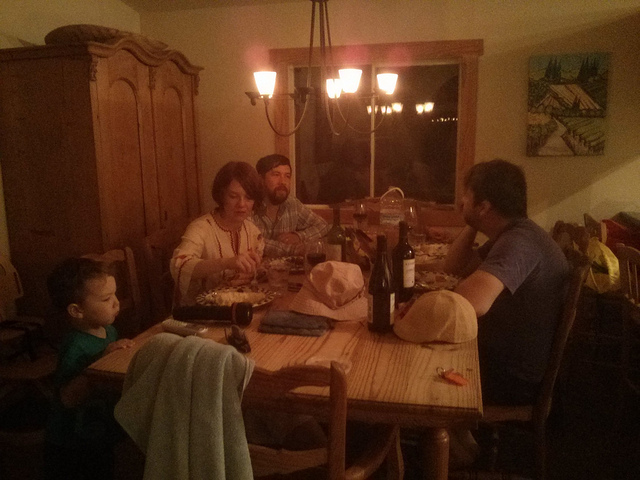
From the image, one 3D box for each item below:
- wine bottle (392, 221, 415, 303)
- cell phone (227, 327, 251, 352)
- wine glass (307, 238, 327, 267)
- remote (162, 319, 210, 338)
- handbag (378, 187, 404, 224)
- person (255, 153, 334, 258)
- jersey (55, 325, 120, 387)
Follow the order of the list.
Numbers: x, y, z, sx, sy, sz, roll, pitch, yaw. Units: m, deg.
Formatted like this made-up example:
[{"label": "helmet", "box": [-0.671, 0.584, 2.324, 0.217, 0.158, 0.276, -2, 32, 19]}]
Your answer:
[{"label": "wine bottle", "box": [0.356, 0.077, 2.120, 0.099, 0.339, 0.099, -4, 24, 2]}, {"label": "cell phone", "box": [-0.289, 0.358, 1.819, 0.052, 0.097, 0.039, -38, -14, 1]}, {"label": "wine glass", "box": [-0.012, 0.059, 2.549, 0.106, 0.147, 0.113, 0, -9, 0]}, {"label": "remote", "box": [-0.507, 0.328, 1.901, 0.163, 0.035, 0.087, 9, 10, 15]}, {"label": "handbag", "box": [0.484, -0.186, 3.245, 0.160, 0.281, 0.165, -1, -17, 13]}, {"label": "person", "box": [-0.283, -0.251, 3.961, 0.646, 0.808, 0.729, -3, 11, -25]}, {"label": "jersey", "box": [-0.897, 0.371, 1.928, 0.172, 0.241, 0.320, 3, 12, 10]}]
